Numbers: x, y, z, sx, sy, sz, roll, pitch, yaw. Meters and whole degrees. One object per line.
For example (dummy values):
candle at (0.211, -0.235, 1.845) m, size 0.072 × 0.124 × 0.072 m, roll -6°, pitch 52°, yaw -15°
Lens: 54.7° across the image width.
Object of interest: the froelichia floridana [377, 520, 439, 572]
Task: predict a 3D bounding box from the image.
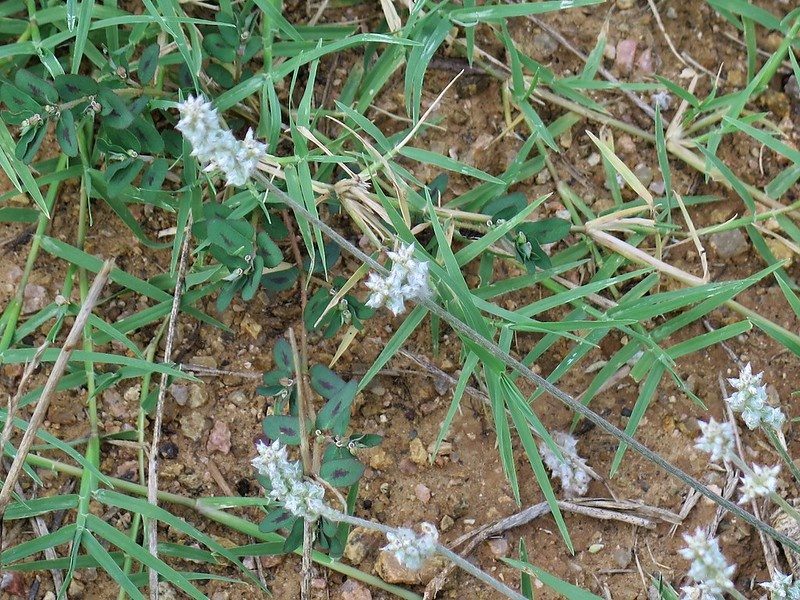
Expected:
froelichia floridana at (0.028, 0.554, 1.795) m, size 0.131 × 0.073 × 0.156 m, roll 10°, pitch 99°, yaw 8°

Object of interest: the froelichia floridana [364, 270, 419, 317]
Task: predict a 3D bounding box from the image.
froelichia floridana at (-0.025, -0.018, 1.770) m, size 0.089 × 0.106 × 0.066 m, roll 20°, pitch 96°, yaw 0°

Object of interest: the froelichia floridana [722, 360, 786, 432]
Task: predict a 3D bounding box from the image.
froelichia floridana at (0.964, 0.265, 2.088) m, size 0.127 × 0.129 × 0.183 m, roll -31°, pitch 104°, yaw 5°

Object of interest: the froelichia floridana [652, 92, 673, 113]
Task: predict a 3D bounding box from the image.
froelichia floridana at (0.870, -0.655, 2.561) m, size 0.068 × 0.031 × 0.061 m, roll -6°, pitch 70°, yaw -2°

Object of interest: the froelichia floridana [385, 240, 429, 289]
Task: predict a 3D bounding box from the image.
froelichia floridana at (0.012, -0.077, 1.764) m, size 0.090 × 0.050 × 0.099 m, roll 18°, pitch 70°, yaw -14°
